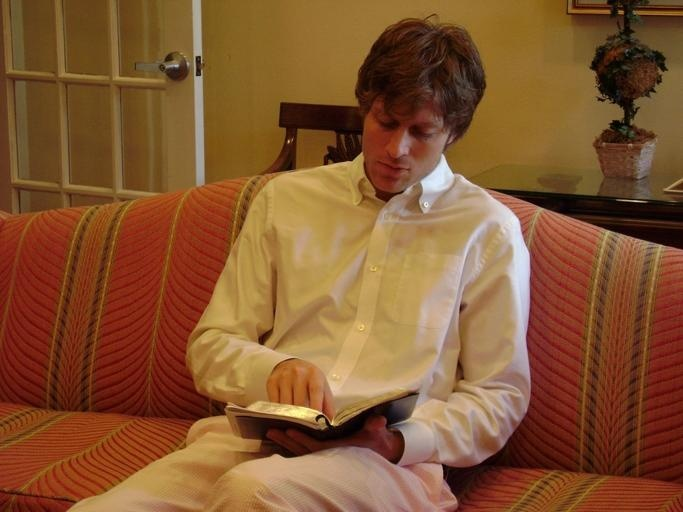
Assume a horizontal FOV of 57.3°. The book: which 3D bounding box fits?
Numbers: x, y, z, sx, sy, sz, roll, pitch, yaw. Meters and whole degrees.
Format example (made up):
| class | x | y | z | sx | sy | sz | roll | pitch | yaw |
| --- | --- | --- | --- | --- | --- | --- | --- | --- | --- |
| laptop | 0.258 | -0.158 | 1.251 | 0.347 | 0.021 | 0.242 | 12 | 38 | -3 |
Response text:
| class | x | y | z | sx | sy | sz | roll | pitch | yaw |
| --- | --- | --- | --- | --- | --- | --- | --- | --- | --- |
| book | -0.036 | 0.311 | 1.222 | 0.366 | 0.123 | 0.118 | 0 | 7 | -4 |
